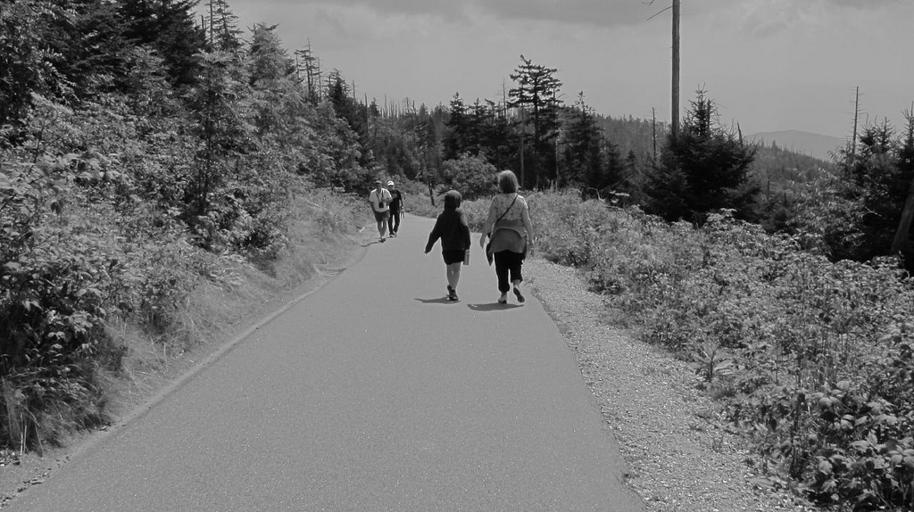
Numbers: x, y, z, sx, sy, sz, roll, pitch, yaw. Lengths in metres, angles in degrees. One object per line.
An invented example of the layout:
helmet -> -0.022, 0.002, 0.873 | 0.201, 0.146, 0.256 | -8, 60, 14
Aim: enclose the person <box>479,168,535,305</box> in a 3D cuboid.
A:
person -> 1.344, -0.480, 17.901 | 1.207, 3.382, 1.062 | 6, 12, 32
